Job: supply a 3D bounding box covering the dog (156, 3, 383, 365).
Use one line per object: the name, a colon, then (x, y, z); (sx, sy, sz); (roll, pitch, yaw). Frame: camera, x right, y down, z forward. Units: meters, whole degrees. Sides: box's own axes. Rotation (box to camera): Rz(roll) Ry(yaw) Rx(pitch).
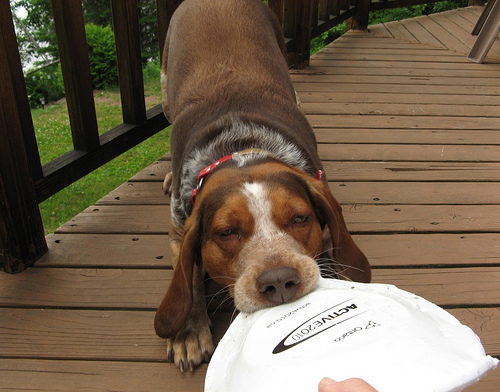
dog: (-0.057, -0.208, 2.422); (0.863, 0.691, 2.118); (-5, 48, -4)
